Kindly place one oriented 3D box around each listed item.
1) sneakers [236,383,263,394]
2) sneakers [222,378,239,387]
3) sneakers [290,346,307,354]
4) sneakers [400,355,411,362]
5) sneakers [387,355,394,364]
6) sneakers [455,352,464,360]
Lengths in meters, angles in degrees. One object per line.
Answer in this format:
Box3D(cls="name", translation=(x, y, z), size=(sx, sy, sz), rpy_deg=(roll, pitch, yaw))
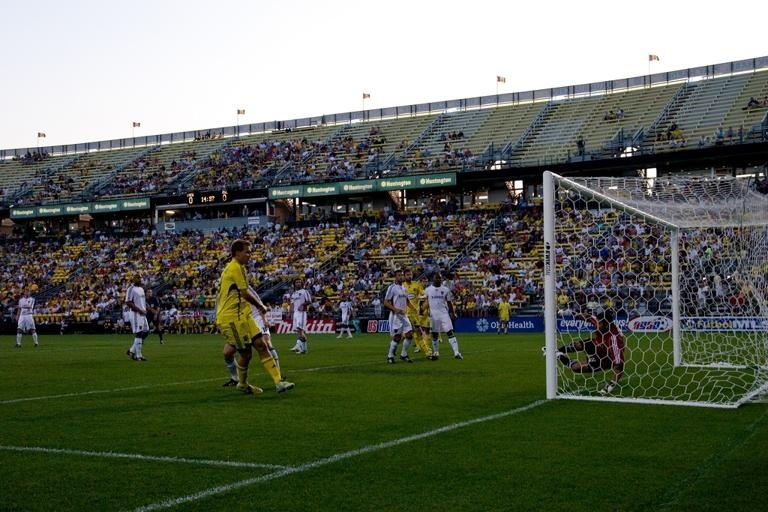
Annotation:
Box3D(cls="sneakers", translation=(-3.095, 3.042, 23.731), size=(0.638, 0.256, 0.224), rpy_deg=(2, 11, -2))
Box3D(cls="sneakers", translation=(-3.699, 3.028, 24.630), size=(0.466, 0.194, 0.151), rpy_deg=(2, -4, -9))
Box3D(cls="sneakers", translation=(-2.764, 3.035, 33.422), size=(0.609, 0.247, 0.198), rpy_deg=(3, -6, -7))
Box3D(cls="sneakers", translation=(0.630, 2.854, 28.861), size=(0.363, 0.146, 0.121), rpy_deg=(5, 4, 16))
Box3D(cls="sneakers", translation=(0.174, 2.881, 28.742), size=(0.215, 0.259, 0.174), rpy_deg=(-1, -2, 0))
Box3D(cls="sneakers", translation=(2.148, 2.853, 29.635), size=(0.127, 0.138, 0.338), rpy_deg=(1, 2, 16))
